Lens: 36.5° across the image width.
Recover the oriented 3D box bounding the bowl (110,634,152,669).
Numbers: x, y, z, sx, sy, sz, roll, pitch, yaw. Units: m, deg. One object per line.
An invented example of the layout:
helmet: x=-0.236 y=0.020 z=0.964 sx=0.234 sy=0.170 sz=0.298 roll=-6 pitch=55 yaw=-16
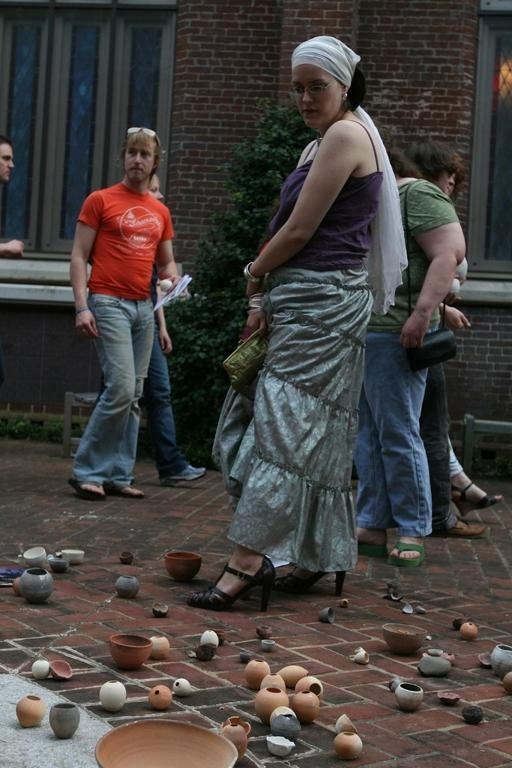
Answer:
bowl: x=-0.320 y=0.688 z=2.004 sx=0.106 sy=0.057 sz=0.098 roll=10 pitch=0 yaw=0

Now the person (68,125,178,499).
person: x=-0.893 y=-0.527 z=5.234 sx=0.506 sy=2.512 sz=0.829 roll=7 pitch=0 yaw=23

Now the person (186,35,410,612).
person: x=0.185 y=-0.214 z=2.959 sx=0.509 sy=2.111 sz=0.706 roll=7 pitch=0 yaw=26

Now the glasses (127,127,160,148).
glasses: x=-0.728 y=-1.630 z=5.046 sx=0.185 sy=0.109 sz=0.146 roll=6 pitch=0 yaw=-9

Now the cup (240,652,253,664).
cup: x=-0.029 y=0.763 z=2.158 sx=0.034 sy=0.021 sz=0.032 roll=2 pitch=7 yaw=0

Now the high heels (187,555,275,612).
high heels: x=-0.076 y=0.721 z=2.801 sx=0.351 sy=0.188 sz=0.147 roll=1 pitch=-6 yaw=2

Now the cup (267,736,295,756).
cup: x=0.051 y=0.729 z=1.562 sx=0.047 sy=0.019 sz=0.037 roll=7 pitch=0 yaw=-12

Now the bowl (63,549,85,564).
bowl: x=-0.750 y=0.705 z=3.215 sx=0.082 sy=0.040 sz=0.077 roll=2 pitch=2 yaw=0

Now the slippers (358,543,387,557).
slippers: x=0.611 y=0.874 z=4.073 sx=0.132 sy=0.041 sz=0.067 roll=1 pitch=4 yaw=27

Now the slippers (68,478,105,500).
slippers: x=-1.127 y=0.684 z=5.055 sx=0.300 sy=0.110 sz=0.102 roll=3 pitch=2 yaw=39

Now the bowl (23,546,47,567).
bowl: x=-0.868 y=0.681 z=3.088 sx=0.097 sy=0.056 sz=0.071 roll=-7 pitch=18 yaw=2

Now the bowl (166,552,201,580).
bowl: x=-0.279 y=0.712 z=3.068 sx=0.138 sy=0.078 sz=0.126 roll=2 pitch=0 yaw=0

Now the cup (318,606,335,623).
cup: x=0.243 y=0.797 z=2.679 sx=0.053 sy=0.054 sz=0.074 roll=6 pitch=0 yaw=7

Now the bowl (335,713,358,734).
bowl: x=0.192 y=0.725 z=1.670 sx=0.040 sy=0.048 sz=0.048 roll=-3 pitch=-21 yaw=11

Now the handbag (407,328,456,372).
handbag: x=0.879 y=-0.181 z=3.941 sx=0.281 sy=0.174 sz=0.157 roll=-22 pitch=11 yaw=-16

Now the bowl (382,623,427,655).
bowl: x=0.456 y=0.774 z=2.370 sx=0.122 sy=0.062 sz=0.112 roll=3 pitch=1 yaw=0

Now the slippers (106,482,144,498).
slippers: x=-0.885 y=0.729 z=5.305 sx=0.300 sy=0.070 sz=0.104 roll=2 pitch=8 yaw=25

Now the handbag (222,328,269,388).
handbag: x=-0.033 y=-0.118 z=2.985 sx=0.082 sy=0.132 sz=0.222 roll=22 pitch=27 yaw=40
